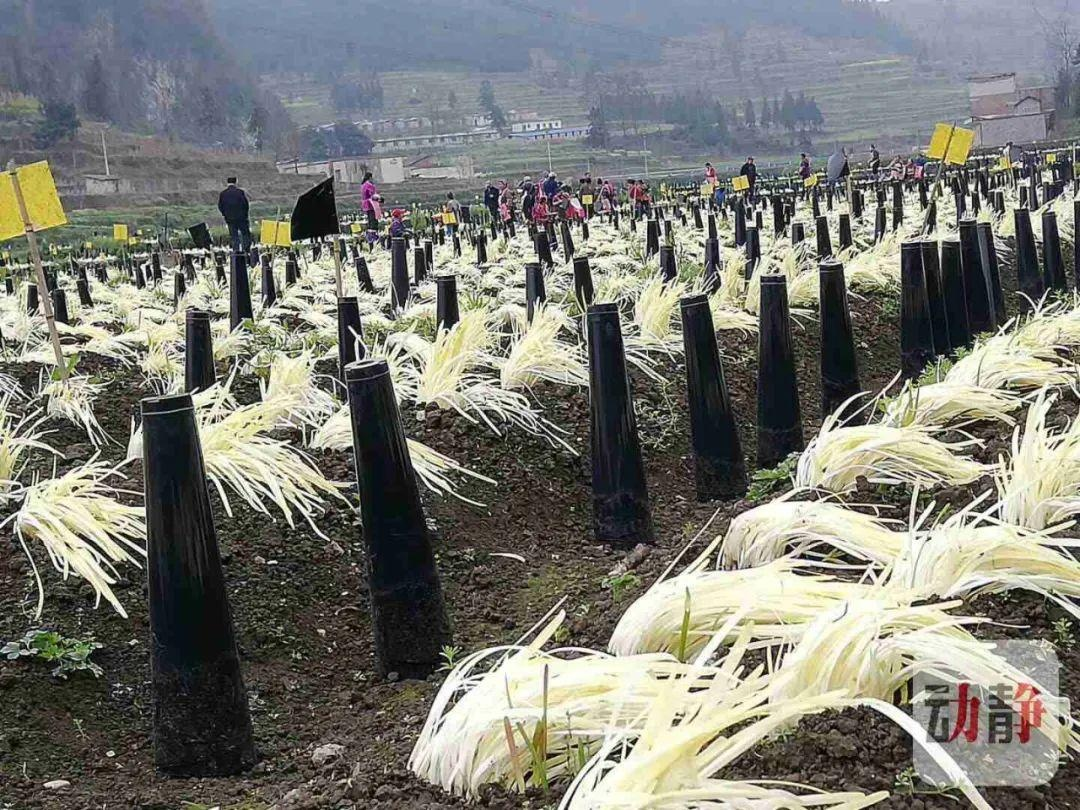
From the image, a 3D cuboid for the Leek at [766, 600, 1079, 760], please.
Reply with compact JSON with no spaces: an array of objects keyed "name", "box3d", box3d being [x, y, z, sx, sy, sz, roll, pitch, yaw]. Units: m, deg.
[{"name":"Leek","box3d":[1.006,0.680,2.314,0.549,0.197,0.371,2,13,17]}]
